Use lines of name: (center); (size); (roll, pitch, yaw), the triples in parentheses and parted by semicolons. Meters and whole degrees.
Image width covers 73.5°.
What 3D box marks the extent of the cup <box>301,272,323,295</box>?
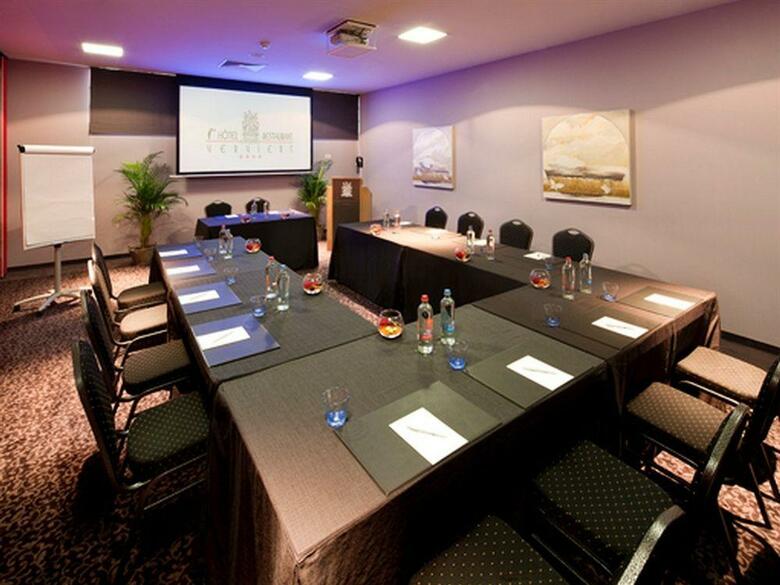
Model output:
cup: (-0.627, -0.058, 4.237); (0.156, 0.174, 0.164); (0, 15, 0)

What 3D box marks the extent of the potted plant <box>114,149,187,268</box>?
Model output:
potted plant: (-3.637, -1.198, 7.839); (0.818, 1.441, 0.885); (7, 6, 39)

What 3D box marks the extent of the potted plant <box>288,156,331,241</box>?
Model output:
potted plant: (-1.377, -1.673, 9.680); (0.613, 1.251, 0.639); (-4, 3, 19)

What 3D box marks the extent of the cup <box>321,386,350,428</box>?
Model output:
cup: (-0.293, 0.626, 2.867); (0.152, 0.202, 0.169); (-1, 8, -4)

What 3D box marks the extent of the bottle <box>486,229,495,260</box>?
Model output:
bottle: (0.992, -0.474, 5.161); (0.089, 0.232, 0.367); (4, 17, 10)

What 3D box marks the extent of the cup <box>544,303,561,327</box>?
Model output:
cup: (1.132, 0.153, 3.725); (0.127, 0.158, 0.134); (-6, 11, 1)

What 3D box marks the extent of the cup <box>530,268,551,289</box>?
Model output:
cup: (1.239, -0.121, 4.302); (0.147, 0.160, 0.158); (-3, 15, 1)

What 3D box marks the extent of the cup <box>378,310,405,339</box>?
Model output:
cup: (0.000, 0.217, 3.586); (0.172, 0.192, 0.153); (-2, 12, -8)

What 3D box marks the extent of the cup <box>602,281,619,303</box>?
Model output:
cup: (1.701, 0.003, 4.117); (0.123, 0.147, 0.134); (-2, 6, 0)

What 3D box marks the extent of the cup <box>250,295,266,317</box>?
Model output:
cup: (-0.959, 0.105, 3.787); (0.125, 0.159, 0.132); (1, 12, 0)

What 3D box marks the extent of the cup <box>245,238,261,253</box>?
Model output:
cup: (-1.397, -0.476, 5.253); (0.159, 0.177, 0.171); (1, 15, 0)

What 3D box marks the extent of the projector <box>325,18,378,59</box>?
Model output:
projector: (-0.426, -2.753, 5.611); (0.553, 0.249, 0.486); (2, 17, 1)

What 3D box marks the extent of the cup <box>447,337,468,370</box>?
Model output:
cup: (0.406, 0.405, 3.291); (0.093, 0.156, 0.161); (-1, 8, -1)

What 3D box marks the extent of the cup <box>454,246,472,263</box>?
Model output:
cup: (0.698, -0.361, 5.010); (0.130, 0.102, 0.128); (0, 13, 0)
